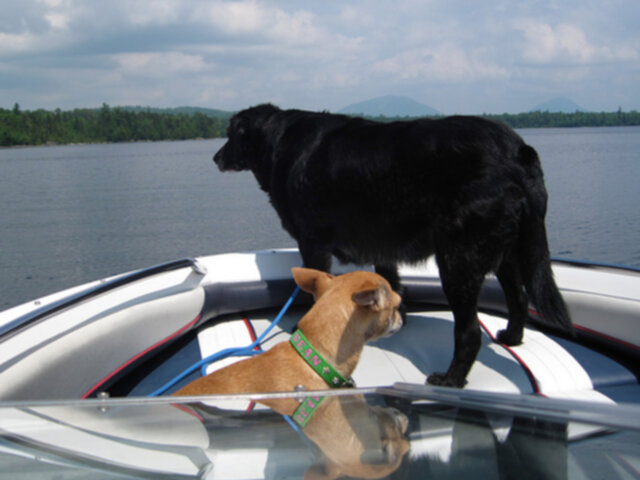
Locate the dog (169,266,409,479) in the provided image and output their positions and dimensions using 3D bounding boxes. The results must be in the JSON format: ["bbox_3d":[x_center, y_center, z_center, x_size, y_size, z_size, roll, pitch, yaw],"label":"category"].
[{"bbox_3d":[0.067,0.613,2.578,1.523,0.921,0.602,-7,13,-10],"label":"dog"}]
